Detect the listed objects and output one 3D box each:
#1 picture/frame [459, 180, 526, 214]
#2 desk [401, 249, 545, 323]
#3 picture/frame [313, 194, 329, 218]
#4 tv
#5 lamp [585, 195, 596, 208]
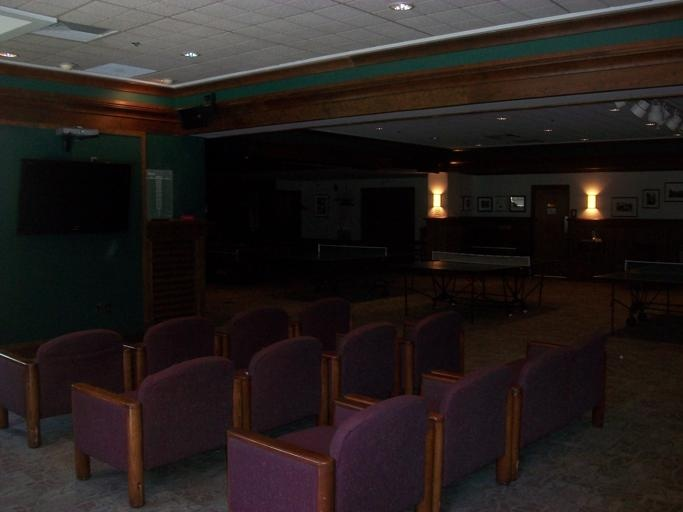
[{"bbox_3d":[5.377,-2.049,17.057,2.162,1.188,0.749,2,6,13],"label":"picture/frame"},{"bbox_3d":[3.398,0.706,12.216,2.862,0.998,1.883,1,-6,-40],"label":"desk"},{"bbox_3d":[-0.888,-2.318,22.027,0.872,1.046,0.119,5,8,38],"label":"picture/frame"},{"bbox_3d":[-4.015,-0.889,7.172,1.326,0.811,0.171,-5,14,-41],"label":"tv"},{"bbox_3d":[7.920,-1.717,15.405,0.248,0.419,0.093,3,7,23],"label":"lamp"}]
